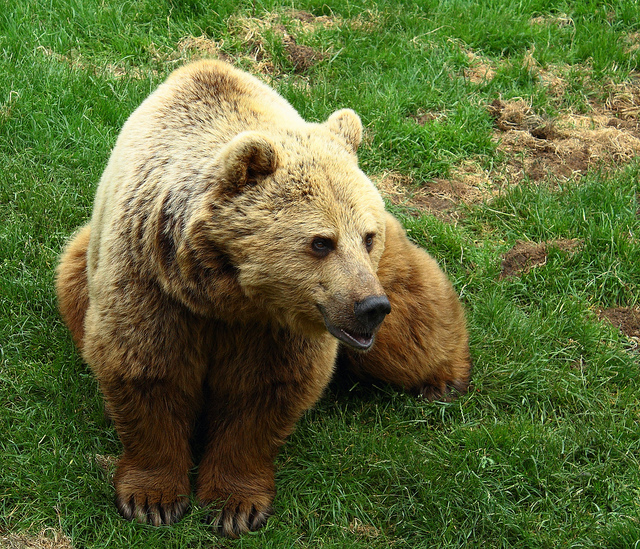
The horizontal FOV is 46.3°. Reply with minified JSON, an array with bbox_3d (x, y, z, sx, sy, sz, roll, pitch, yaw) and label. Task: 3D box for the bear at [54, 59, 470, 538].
[{"bbox_3d":[-0.553,0.204,4.512,1.715,2.216,1.460,9,29,0],"label":"bear"}]
